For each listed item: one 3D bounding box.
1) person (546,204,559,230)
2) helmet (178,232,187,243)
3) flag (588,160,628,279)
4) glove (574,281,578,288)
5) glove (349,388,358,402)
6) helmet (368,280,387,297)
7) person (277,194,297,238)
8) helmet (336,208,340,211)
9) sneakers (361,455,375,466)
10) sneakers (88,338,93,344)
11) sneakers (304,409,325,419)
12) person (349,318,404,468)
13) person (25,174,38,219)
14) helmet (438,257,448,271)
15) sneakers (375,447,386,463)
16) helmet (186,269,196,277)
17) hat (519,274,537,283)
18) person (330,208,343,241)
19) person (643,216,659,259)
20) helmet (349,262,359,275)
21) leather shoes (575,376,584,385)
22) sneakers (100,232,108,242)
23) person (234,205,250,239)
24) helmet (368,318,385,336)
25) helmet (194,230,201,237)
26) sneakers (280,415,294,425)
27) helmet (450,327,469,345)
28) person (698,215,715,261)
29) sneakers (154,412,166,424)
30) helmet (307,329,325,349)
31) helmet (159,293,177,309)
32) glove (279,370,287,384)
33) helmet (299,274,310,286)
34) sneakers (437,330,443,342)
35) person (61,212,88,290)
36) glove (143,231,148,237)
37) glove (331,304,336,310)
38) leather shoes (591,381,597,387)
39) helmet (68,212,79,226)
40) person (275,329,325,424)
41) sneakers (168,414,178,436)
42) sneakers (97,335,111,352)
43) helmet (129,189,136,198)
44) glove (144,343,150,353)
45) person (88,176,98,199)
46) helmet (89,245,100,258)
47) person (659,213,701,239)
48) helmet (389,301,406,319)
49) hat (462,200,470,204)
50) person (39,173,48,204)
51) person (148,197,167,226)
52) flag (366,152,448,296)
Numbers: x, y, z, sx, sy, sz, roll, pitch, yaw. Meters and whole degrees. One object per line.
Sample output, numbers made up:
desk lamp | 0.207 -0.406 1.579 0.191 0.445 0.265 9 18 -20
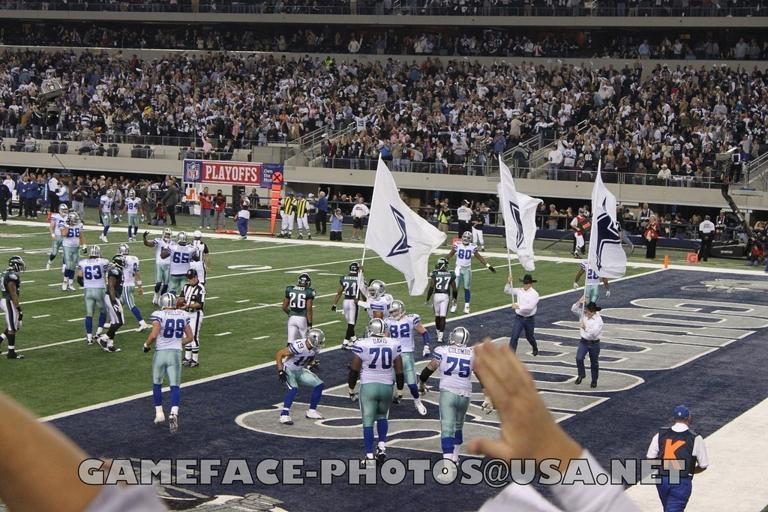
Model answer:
person | 7.481 -1.758 51.774 0.402 1.106 0.578 -11 13 -41
helmet | -6.122 -0.554 34.870 0.188 0.273 0.471 -2 10 0
flag | 6.109 -0.900 31.829 0.939 3.524 2.467 0 10 11
glove | 6.751 1.041 40.842 0.134 0.184 0.188 -3 6 0
glove | -0.780 3.462 28.427 0.192 0.411 0.399 0 35 -2
helmet | -0.197 0.859 29.555 0.437 0.383 0.352 2 3 7
person | -4.334 -1.780 51.144 0.780 1.965 1.204 -3 10 -7
helmet | -2.080 -2.081 51.441 0.122 0.082 0.159 -4 -3 13
sneakers | -0.373 4.591 25.772 0.166 0.176 0.412 2 3 -9
sneakers | -8.212 2.398 32.160 0.099 0.123 0.287 0 -13 -12
sneakers | -1.704 3.843 27.787 0.371 0.159 0.195 3 8 -6
person | -0.176 3.040 26.049 1.134 3.107 1.478 -3 10 -3
person | -16.853 -2.815 54.945 0.665 2.022 0.774 -6 10 -19
helmet | 1.738 0.251 34.117 0.263 0.314 0.306 2 3 -8
sneakers | -0.104 4.502 25.725 0.146 0.192 0.433 4 8 1
helmet | -5.129 0.476 30.654 0.231 0.228 0.434 -4 10 -8
hat | 3.871 0.654 31.243 0.346 0.167 0.431 3 -4 21
person | -2.172 -1.333 50.977 0.545 1.327 1.417 -2 10 -1
person | 11.024 -0.804 47.720 0.483 1.861 0.827 -1 10 9
helmet | -0.855 0.358 32.462 0.262 0.328 0.320 2 -5 1
leather shoes | 5.126 3.322 30.485 0.267 0.064 0.154 -48 31 -23
sneakers | -11.584 -0.757 47.662 0.225 0.274 0.628 -8 19 -39
person | -6.203 -1.547 50.268 0.504 1.673 1.564 -4 10 -9
helmet | -0.172 1.644 26.034 0.389 0.353 0.303 -2 8 3
helmet | -6.120 -0.730 37.685 0.244 0.185 0.361 -1 8 -16
sneakers | -2.352 3.926 27.372 0.172 0.136 0.314 1 -4 -31
helmet | 1.702 1.838 25.974 0.353 0.420 0.412 14 1 -35
person | 13.445 -0.750 48.305 0.628 1.896 1.369 1 10 17
sneakers | -5.280 3.847 27.173 0.283 0.271 0.224 -3 -4 40
helmet | -1.629 1.989 27.097 0.372 0.526 0.357 -3 10 -7
helmet | -5.176 1.081 27.432 0.281 0.351 0.359 11 3 42
glove | -2.428 2.868 27.424 0.189 0.384 0.429 -3 10 -5
helmet | -2.150 0.643 30.415 0.295 0.347 0.314 8 12 18
sneakers | 1.542 2.275 32.447 0.125 0.258 0.382 5 33 7
person | -10.269 -0.147 37.846 0.835 2.577 1.166 1 -1 20
glove | -8.599 -0.779 41.440 0.185 0.243 0.103 13 17 22
glove | -1.499 1.503 33.635 0.159 0.217 0.077 -1 -36 1
leather shoes | 5.485 3.420 30.346 0.115 0.126 0.130 0 -2 -6
helmet | -10.152 -1.220 37.700 0.350 0.368 0.325 12 -6 -19
person | -2.011 2.876 27.414 1.125 2.361 0.784 -3 10 -7
sneakers | -4.880 3.940 26.679 0.183 0.507 0.238 -3 -12 4
sneakers | -7.716 2.433 31.727 0.275 0.405 0.137 -25 4 12
helmet | -10.300 -2.559 46.974 0.303 0.369 0.302 0 1 -3
glove | -5.916 2.324 28.684 0.165 0.193 0.448 2 1 -16
person | -15.077 -3.442 59.577 0.520 1.143 1.691 -5 11 -16
helmet | -8.334 -0.117 33.143 0.235 0.304 0.304 2 20 -3
person | 12.977 -1.259 50.920 1.426 0.360 1.479 4 17 17
helmet | 0.274 1.329 28.323 0.325 0.394 0.424 -10 3 8
hat | 3.681 -2.473 52.745 0.227 0.130 0.355 2 4 27
person | -16.563 -3.258 55.983 0.460 1.295 2.029 -5 11 -15
person | -10.646 -2.083 54.060 0.879 1.595 1.171 5 8 8
flag | 0.475 -0.716 31.397 1.442 4.028 2.225 2 11 20
